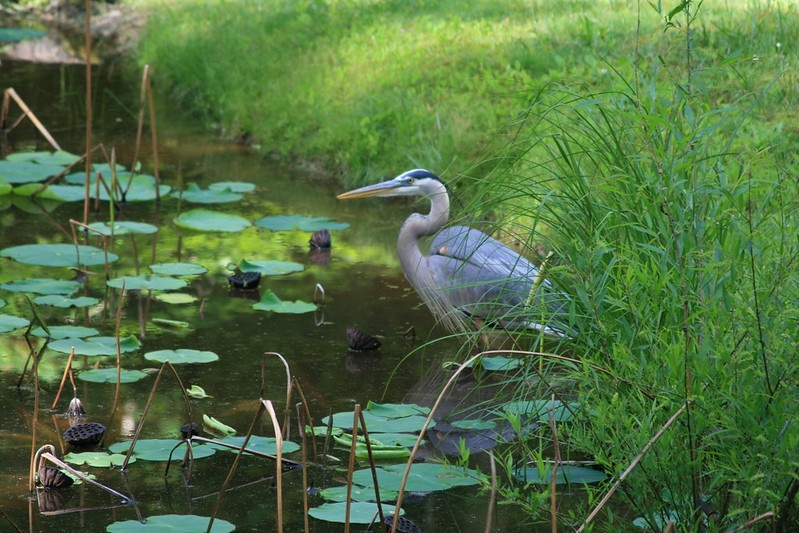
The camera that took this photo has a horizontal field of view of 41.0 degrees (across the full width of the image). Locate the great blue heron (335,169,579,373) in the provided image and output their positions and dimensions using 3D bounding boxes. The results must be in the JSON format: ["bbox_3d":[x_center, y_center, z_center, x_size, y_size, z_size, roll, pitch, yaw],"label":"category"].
[{"bbox_3d":[0.475,-0.002,6.850,1.458,1.179,0.520,1,7,8],"label":"great blue heron"}]
